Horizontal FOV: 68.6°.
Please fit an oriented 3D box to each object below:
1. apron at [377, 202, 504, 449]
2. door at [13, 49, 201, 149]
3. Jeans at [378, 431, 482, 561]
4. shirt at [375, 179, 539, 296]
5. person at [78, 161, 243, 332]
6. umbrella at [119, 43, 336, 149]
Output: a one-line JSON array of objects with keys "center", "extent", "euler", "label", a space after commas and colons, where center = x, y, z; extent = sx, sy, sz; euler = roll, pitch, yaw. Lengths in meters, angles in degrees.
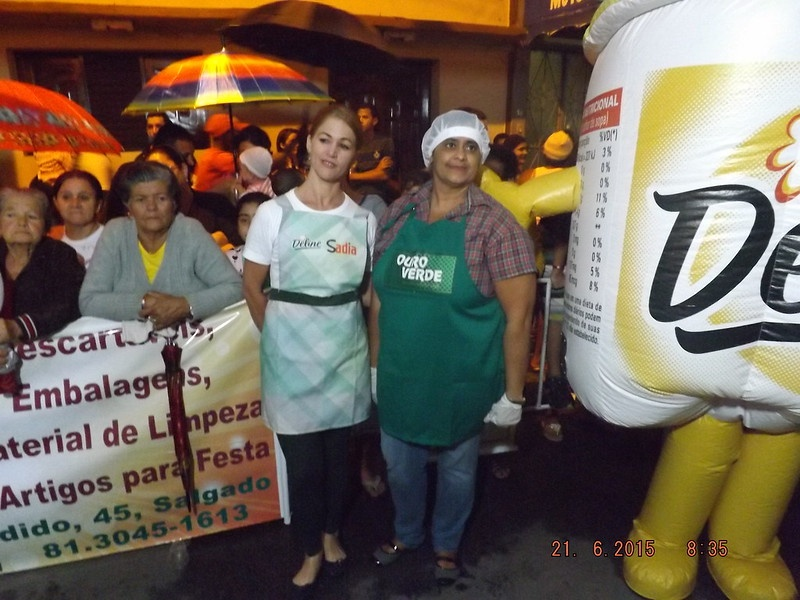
[{"center": [0.220, 0.100, 3.437], "extent": [0.709, 1.309, 0.819], "euler": [-9, 16, -39], "label": "apron"}, {"center": [-3.804, -2.630, 7.702], "extent": [2.182, 1.715, 0.121], "euler": [-5, -20, -20], "label": "door"}, {"center": [0.181, 1.161, 3.439], "extent": [0.570, 1.374, 0.395], "euler": [4, 33, 6], "label": "Jeans"}, {"center": [0.316, -0.339, 3.202], "extent": [0.890, 0.539, 0.346], "euler": [9, 18, 21], "label": "shirt"}, {"center": [-1.422, -0.232, 3.415], "extent": [0.809, 1.035, 0.361], "euler": [-5, -5, -15], "label": "person"}, {"center": [-1.525, -2.061, 5.433], "extent": [1.458, 0.574, 1.441], "euler": [-16, 23, -35], "label": "umbrella"}]
